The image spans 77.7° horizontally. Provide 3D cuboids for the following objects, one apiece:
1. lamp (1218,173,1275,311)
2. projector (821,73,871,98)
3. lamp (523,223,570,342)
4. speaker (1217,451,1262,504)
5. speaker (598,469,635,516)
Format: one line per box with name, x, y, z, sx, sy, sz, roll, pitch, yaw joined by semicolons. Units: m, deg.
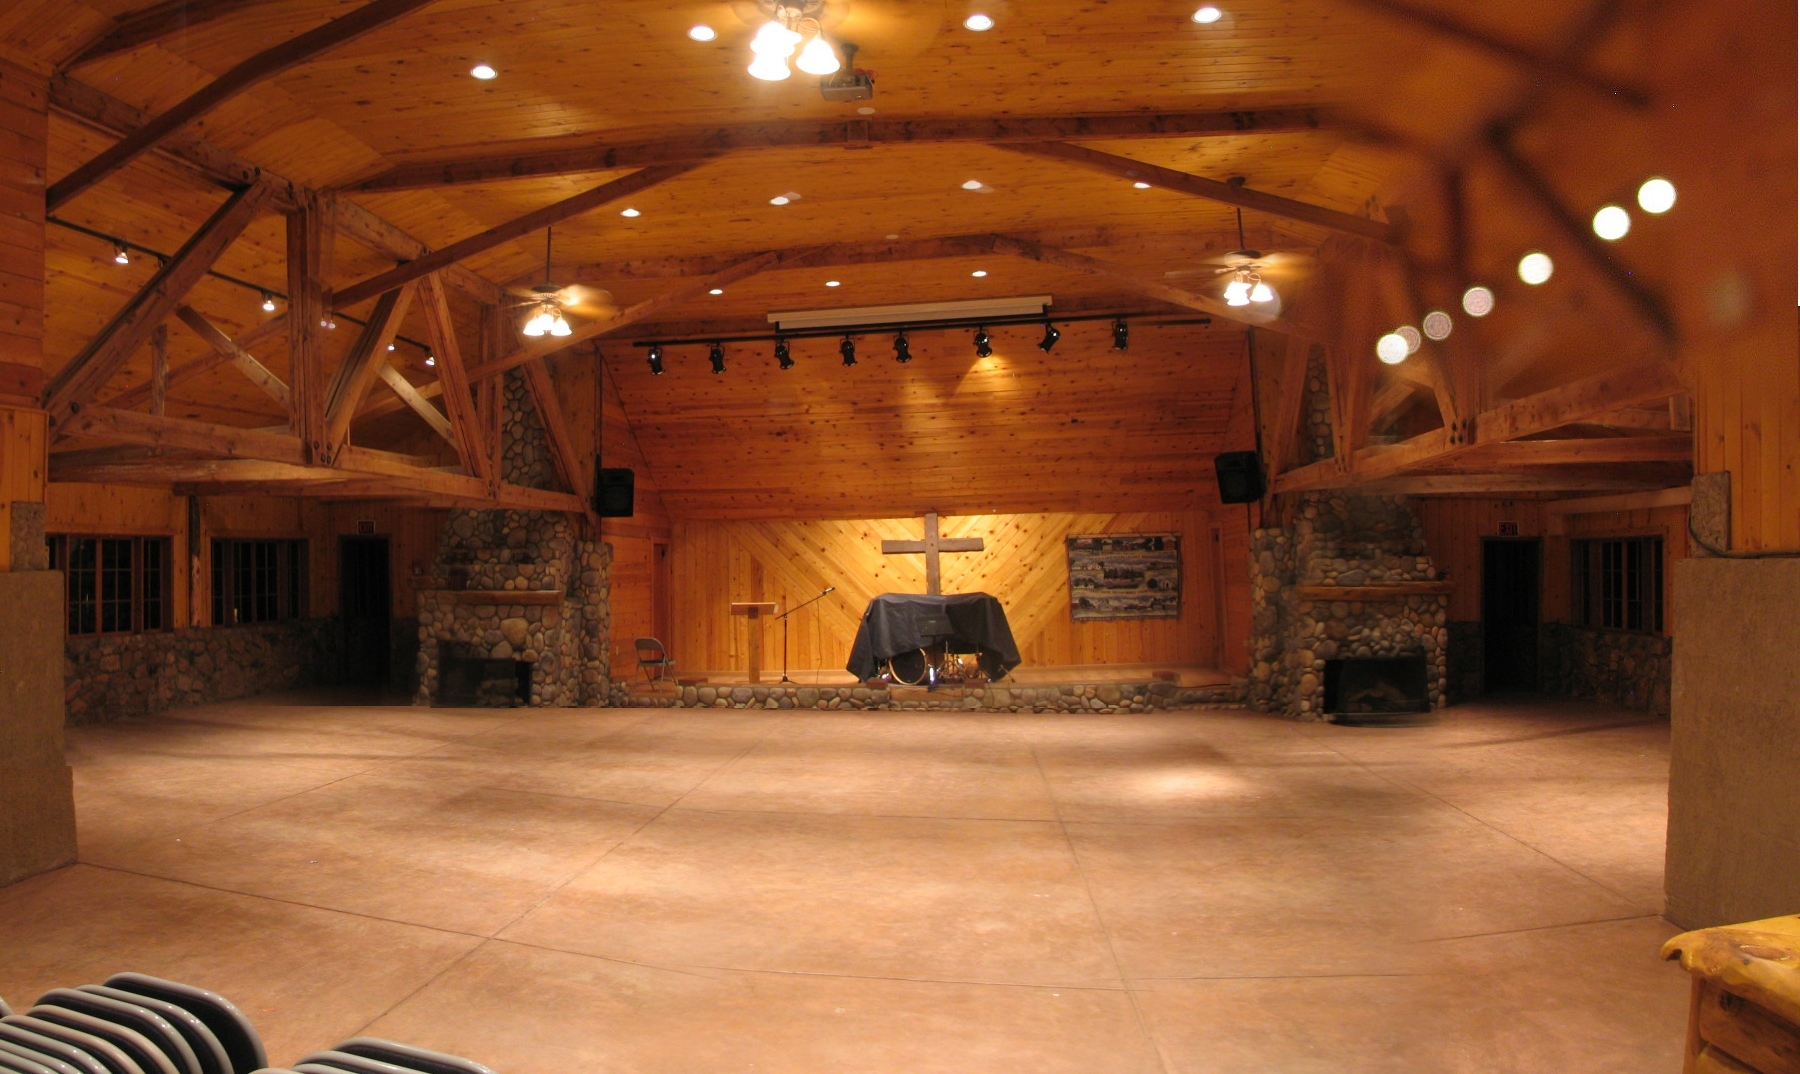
lamp;4.137;-3.299;13.145;0.733;1.147;3.249;2;1;16
projector;-0.466;-3.958;9.769;0.538;0.089;0.449;0;7;6
lamp;-4.475;-3.081;14.348;0.561;1.218;2.313;1;1;-17
speaker;4.886;-0.872;16.074;0.671;0.710;0.286;2;2;12
speaker;-4.305;-0.698;17.033;0.534;0.733;0.274;2;2;7
